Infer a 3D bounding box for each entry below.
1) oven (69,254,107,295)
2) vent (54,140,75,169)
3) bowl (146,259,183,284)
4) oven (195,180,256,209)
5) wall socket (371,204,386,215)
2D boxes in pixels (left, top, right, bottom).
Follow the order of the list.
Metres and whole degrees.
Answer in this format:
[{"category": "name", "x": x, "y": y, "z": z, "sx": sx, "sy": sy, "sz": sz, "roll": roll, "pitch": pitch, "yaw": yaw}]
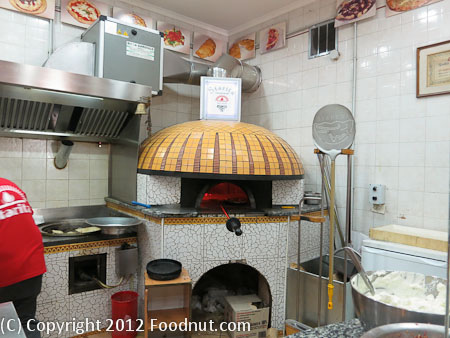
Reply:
[{"category": "oven", "x": -1.712, "y": 1.264, "z": 4.222, "sx": 0.408, "sy": 0.412, "sz": 0.407, "roll": 2, "pitch": -1, "yaw": -36}, {"category": "vent", "x": -2.248, "y": -0.211, "z": 4.729, "sx": 0.159, "sy": 0.169, "sz": 0.388, "roll": -2, "pitch": -32, "yaw": -35}, {"category": "bowl", "x": -0.659, "y": 1.083, "z": 3.637, "sx": 0.359, "sy": 0.122, "sz": 0.379, "roll": 0, "pitch": 11, "yaw": 0}, {"category": "oven", "x": 0.041, "y": 0.347, "z": 4.885, "sx": 0.786, "sy": 0.375, "sz": 1.293, "roll": 2, "pitch": -2, "yaw": 4}, {"category": "wall socket", "x": 2.032, "y": 0.530, "z": 4.507, "sx": 0.096, "sy": 0.119, "sz": 0.177, "roll": -1, "pitch": 3, "yaw": -36}]
